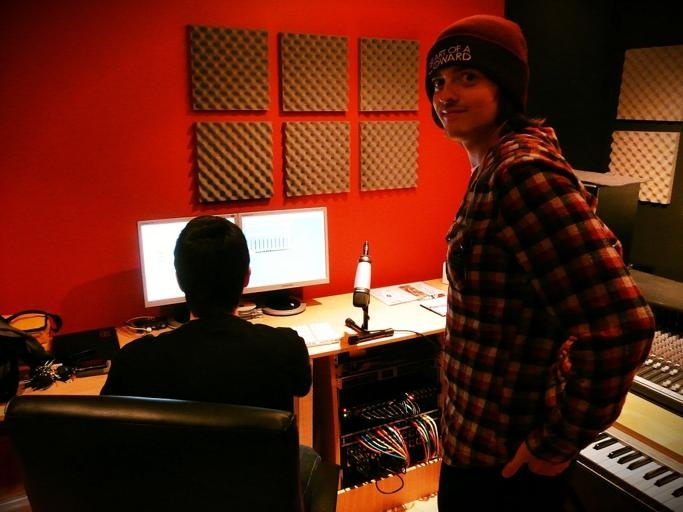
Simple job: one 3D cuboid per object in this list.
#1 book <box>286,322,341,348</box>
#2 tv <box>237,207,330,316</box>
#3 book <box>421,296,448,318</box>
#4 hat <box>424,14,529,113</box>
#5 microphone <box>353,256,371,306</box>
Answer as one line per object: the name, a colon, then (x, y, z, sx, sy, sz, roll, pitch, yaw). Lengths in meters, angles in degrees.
book: (-0.136, 0.438, 3.062, 0.214, 0.028, 0.195, -6, 22, -25)
tv: (-0.354, 0.016, 3.263, 0.619, 0.579, 0.220, -7, 10, -22)
book: (0.609, 0.320, 3.446, 0.147, 0.011, 0.161, 15, 23, 39)
hat: (0.454, -0.636, 1.819, 0.335, 0.310, 0.276, 7, -5, -44)
microphone: (0.116, 0.153, 2.953, 0.086, 0.271, 0.263, -3, 11, 8)
